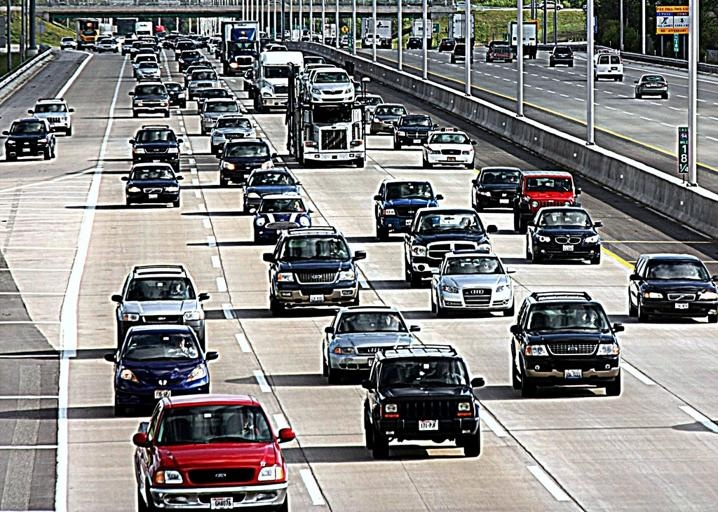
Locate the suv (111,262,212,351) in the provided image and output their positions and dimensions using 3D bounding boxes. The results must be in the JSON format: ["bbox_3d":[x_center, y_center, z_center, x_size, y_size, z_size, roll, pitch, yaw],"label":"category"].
[{"bbox_3d":[-4.629,1.206,31.616,1.668,1.374,2.797,0,-2,-9],"label":"suv"}]

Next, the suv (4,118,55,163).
[{"bbox_3d":[-17.795,-6.131,73.136,2.517,2.183,2.245,-6,16,-15],"label":"suv"}]

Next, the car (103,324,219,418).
[{"bbox_3d":[-3.816,2.201,25.888,1.503,1.034,2.370,-1,0,-11],"label":"car"}]
